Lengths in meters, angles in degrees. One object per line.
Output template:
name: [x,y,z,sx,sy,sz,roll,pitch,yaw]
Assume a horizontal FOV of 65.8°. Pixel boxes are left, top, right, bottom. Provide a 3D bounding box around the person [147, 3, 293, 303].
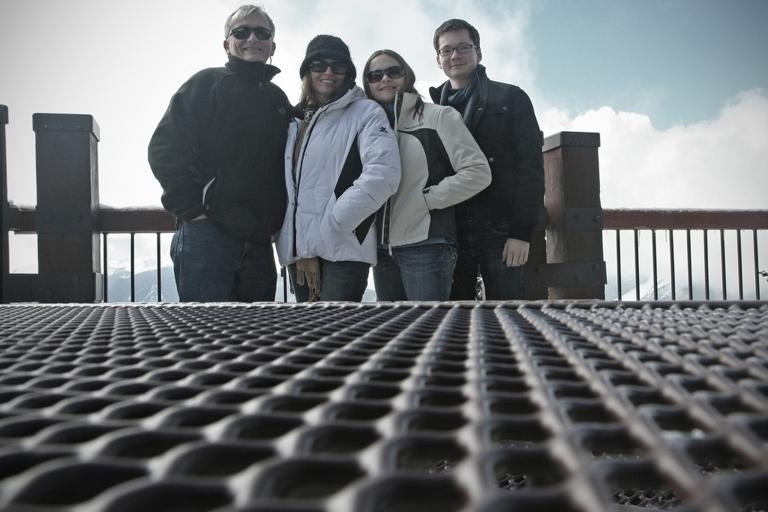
person: [-0.763,-0.497,2.835,0.680,1.437,0.294,0,-4,-21]
